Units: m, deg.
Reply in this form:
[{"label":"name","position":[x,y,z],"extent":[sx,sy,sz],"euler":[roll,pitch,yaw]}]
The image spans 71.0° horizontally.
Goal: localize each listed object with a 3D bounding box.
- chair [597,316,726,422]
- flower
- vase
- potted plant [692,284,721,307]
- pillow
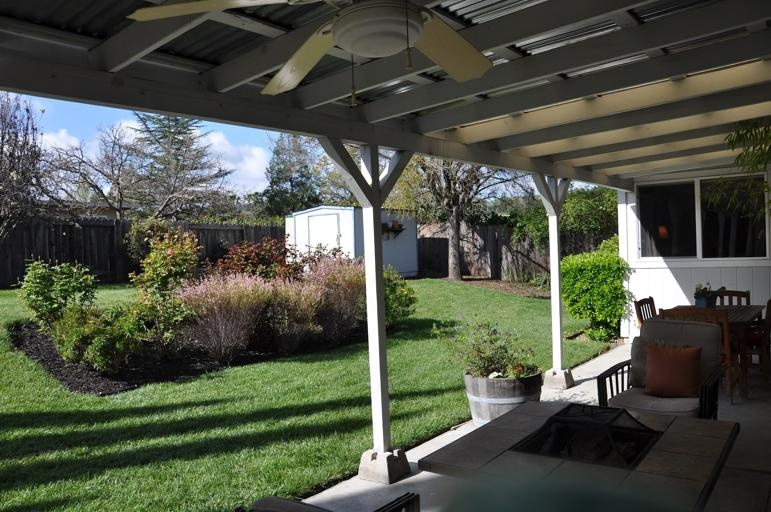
[{"label":"chair","position":[2.986,1.221,5.847],"extent":[1.055,1.445,1.266],"euler":[-2,-5,39]},{"label":"flower","position":[1.369,1.227,6.964],"extent":[1.237,0.826,1.243],"euler":[2,0,2]},{"label":"vase","position":[1.325,1.563,6.168],"extent":[0.674,0.431,0.637],"euler":[-9,-9,41]},{"label":"potted plant","position":[4.921,0.599,8.222],"extent":[0.497,0.368,0.363],"euler":[0,0,5]},{"label":"pillow","position":[3.067,1.188,5.853],"extent":[0.584,0.563,0.213],"euler":[3,-11,41]}]
